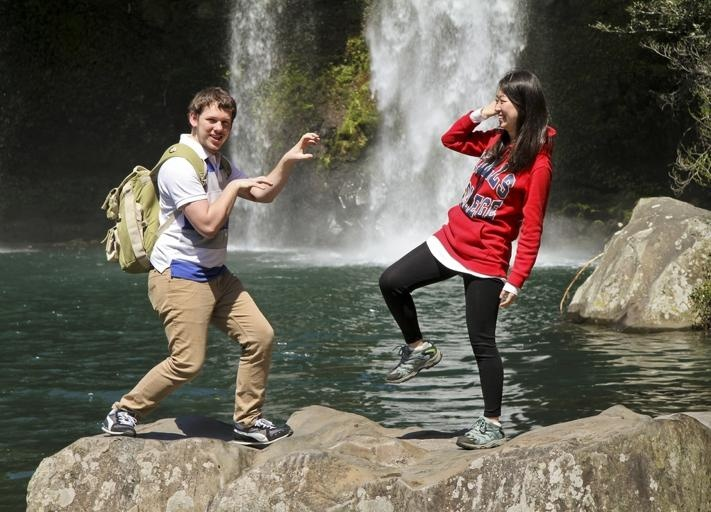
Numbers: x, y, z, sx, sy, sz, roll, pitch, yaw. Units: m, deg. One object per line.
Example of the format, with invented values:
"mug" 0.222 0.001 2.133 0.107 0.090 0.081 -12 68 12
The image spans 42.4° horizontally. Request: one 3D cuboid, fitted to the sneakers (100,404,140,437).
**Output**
"sneakers" -2.470 1.732 9.534 0.343 0.287 0.224 1 13 -4
